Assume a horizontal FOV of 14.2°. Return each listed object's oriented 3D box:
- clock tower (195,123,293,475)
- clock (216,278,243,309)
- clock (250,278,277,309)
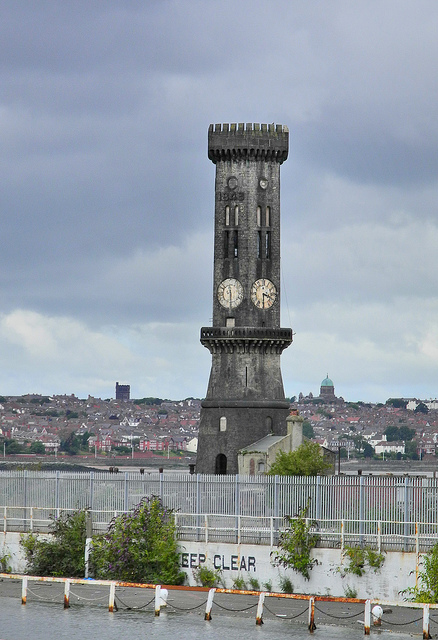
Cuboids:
[{"bbox_3d":[1.234,-1.264,80.489,4.355,13.366,2.300,-6,-2,3],"label":"clock tower"},{"bbox_3d":[0.632,-1.298,80.989,1.015,1.534,0.134,-5,-3,26],"label":"clock"},{"bbox_3d":[2.041,-1.221,80.953,1.065,1.585,0.181,-1,-1,-4],"label":"clock"}]
